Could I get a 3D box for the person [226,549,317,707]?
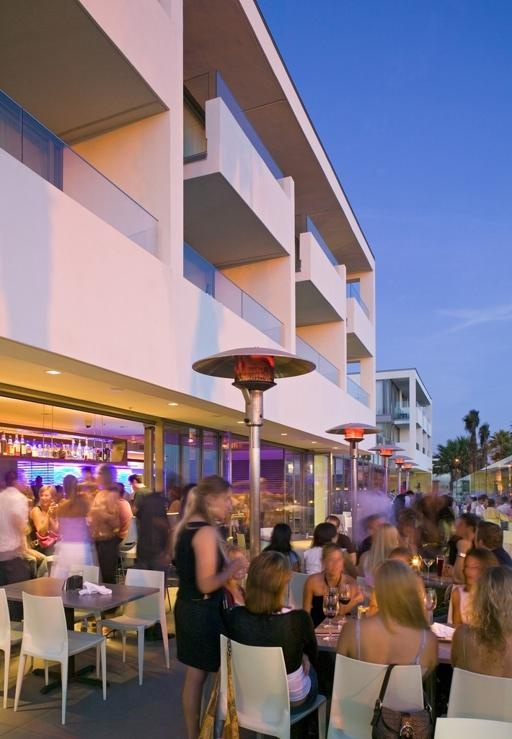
[{"bbox_3d":[0.106,1.353,3.048,0.499,0.814,0.409,3,-11,-16],"label":"person"}]
